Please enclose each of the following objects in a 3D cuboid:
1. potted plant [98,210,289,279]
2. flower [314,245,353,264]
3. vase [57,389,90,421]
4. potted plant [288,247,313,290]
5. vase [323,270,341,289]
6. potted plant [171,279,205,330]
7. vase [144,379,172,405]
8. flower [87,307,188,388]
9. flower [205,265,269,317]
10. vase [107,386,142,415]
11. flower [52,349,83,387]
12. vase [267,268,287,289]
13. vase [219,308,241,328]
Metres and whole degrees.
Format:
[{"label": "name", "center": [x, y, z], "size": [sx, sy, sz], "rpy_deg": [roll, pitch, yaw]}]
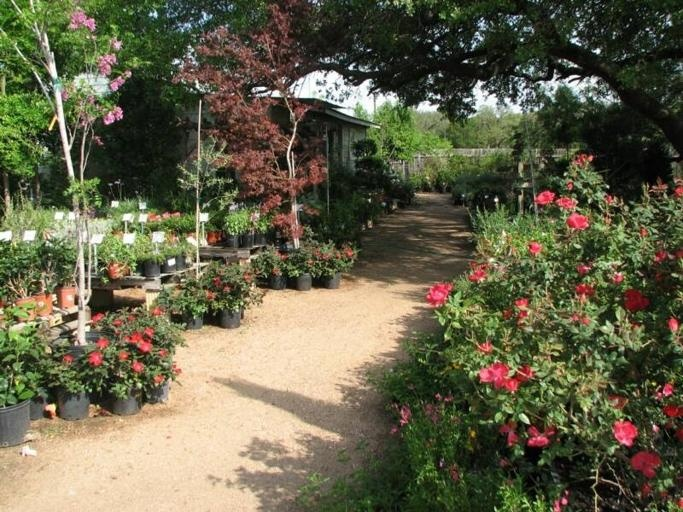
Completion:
[{"label": "potted plant", "center": [-2.392, -0.080, 8.951], "size": [1.185, 0.822, 3.003], "rpy_deg": [5, 14, 16]}, {"label": "flower", "center": [-0.100, -0.050, 10.002], "size": [0.781, 0.288, 0.348], "rpy_deg": [-6, 15, -28]}, {"label": "vase", "center": [-2.520, 1.400, 5.541], "size": [0.292, 0.242, 0.289], "rpy_deg": [0, 8, -7]}, {"label": "potted plant", "center": [-0.683, 0.207, 9.883], "size": [0.538, 0.679, 0.501], "rpy_deg": [7, 18, 22]}, {"label": "vase", "center": [-0.158, 0.390, 10.103], "size": [0.322, 0.343, 0.358], "rpy_deg": [-1, 13, -7]}, {"label": "potted plant", "center": [-2.011, 0.700, 7.763], "size": [0.396, 0.445, 0.425], "rpy_deg": [-1, 6, 15]}, {"label": "vase", "center": [-1.875, 1.357, 5.904], "size": [0.228, 0.228, 0.222], "rpy_deg": [-5, 15, -26]}, {"label": "flower", "center": [-2.014, 0.979, 5.716], "size": [0.910, 0.807, 0.763], "rpy_deg": [-3, 13, -16]}, {"label": "flower", "center": [-1.479, 0.483, 7.801], "size": [0.780, 0.735, 0.478], "rpy_deg": [-4, 13, -20]}, {"label": "vase", "center": [-2.100, 1.425, 5.570], "size": [0.254, 0.197, 0.260], "rpy_deg": [-1, 8, -13]}, {"label": "flower", "center": [-2.565, 1.069, 5.403], "size": [0.284, 0.365, 0.320], "rpy_deg": [-4, 14, -22]}, {"label": "vase", "center": [-1.089, 0.389, 9.929], "size": [0.311, 0.336, 0.342], "rpy_deg": [0, 12, -18]}, {"label": "vase", "center": [-1.503, 0.836, 7.959], "size": [0.256, 0.252, 0.258], "rpy_deg": [6, 11, 27]}]
